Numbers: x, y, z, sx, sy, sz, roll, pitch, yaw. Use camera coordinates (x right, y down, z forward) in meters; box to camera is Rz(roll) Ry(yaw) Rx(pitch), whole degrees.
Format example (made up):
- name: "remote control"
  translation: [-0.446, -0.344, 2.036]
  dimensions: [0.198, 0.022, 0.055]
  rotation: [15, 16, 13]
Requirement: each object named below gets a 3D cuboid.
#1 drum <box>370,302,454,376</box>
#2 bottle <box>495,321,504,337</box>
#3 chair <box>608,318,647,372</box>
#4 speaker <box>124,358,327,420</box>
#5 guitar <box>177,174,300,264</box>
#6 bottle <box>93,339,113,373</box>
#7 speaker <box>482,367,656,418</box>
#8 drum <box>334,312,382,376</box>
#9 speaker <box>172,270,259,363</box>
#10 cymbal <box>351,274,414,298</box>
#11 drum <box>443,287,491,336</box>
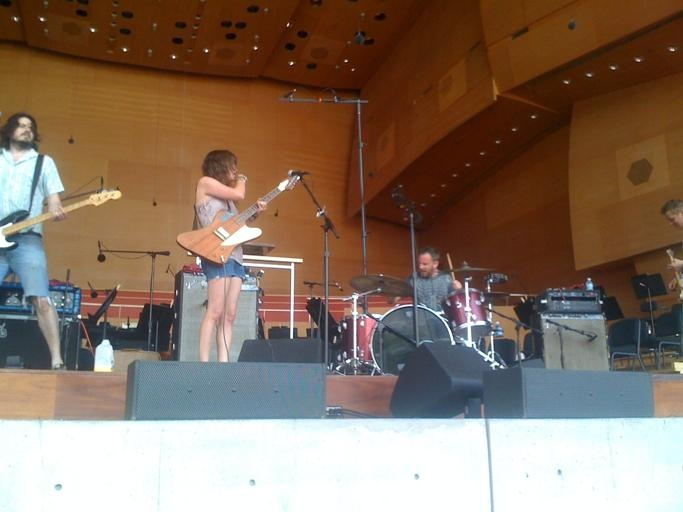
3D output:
- name: "drum"
  translation: [0.588, 0.691, 5.736]
  dimensions: [0.525, 0.594, 0.702]
  rotation: [9, -16, -32]
- name: "bottle"
  translation: [1.370, 0.630, 5.900]
  dimensions: [0.063, 0.140, 0.329]
  rotation: [-4, -14, 17]
- name: "chair"
  translation: [2.876, 0.889, 6.951]
  dimensions: [0.403, 0.562, 0.442]
  rotation: [-6, 10, 28]
- name: "speaker"
  translation: [-0.543, 0.655, 3.319]
  dimensions: [0.954, 0.273, 0.099]
  rotation: [5, -14, -18]
- name: "guitar"
  translation: [-0.667, -0.255, 4.634]
  dimensions: [0.363, 1.066, 0.077]
  rotation: [42, -34, -3]
- name: "bottle"
  translation: [-1.598, 0.664, 4.536]
  dimensions: [0.131, 0.224, 0.136]
  rotation: [6, -9, 1]
- name: "speaker"
  translation: [1.305, 0.736, 3.710]
  dimensions: [0.736, 0.255, 0.257]
  rotation: [3, -9, -7]
- name: "drum"
  translation: [0.183, 0.777, 6.157]
  dimensions: [0.523, 0.553, 0.520]
  rotation: [11, -19, -36]
- name: "speaker"
  translation: [-1.029, 0.376, 5.643]
  dimensions: [0.698, 0.450, 1.255]
  rotation: [4, -42, -5]
- name: "cymbal"
  translation: [0.334, 0.251, 5.837]
  dimensions: [0.533, 0.158, 0.589]
  rotation: [-1, -14, 5]
- name: "drum"
  translation: [1.055, 0.462, 5.822]
  dimensions: [0.362, 0.373, 0.381]
  rotation: [-15, 5, 1]
